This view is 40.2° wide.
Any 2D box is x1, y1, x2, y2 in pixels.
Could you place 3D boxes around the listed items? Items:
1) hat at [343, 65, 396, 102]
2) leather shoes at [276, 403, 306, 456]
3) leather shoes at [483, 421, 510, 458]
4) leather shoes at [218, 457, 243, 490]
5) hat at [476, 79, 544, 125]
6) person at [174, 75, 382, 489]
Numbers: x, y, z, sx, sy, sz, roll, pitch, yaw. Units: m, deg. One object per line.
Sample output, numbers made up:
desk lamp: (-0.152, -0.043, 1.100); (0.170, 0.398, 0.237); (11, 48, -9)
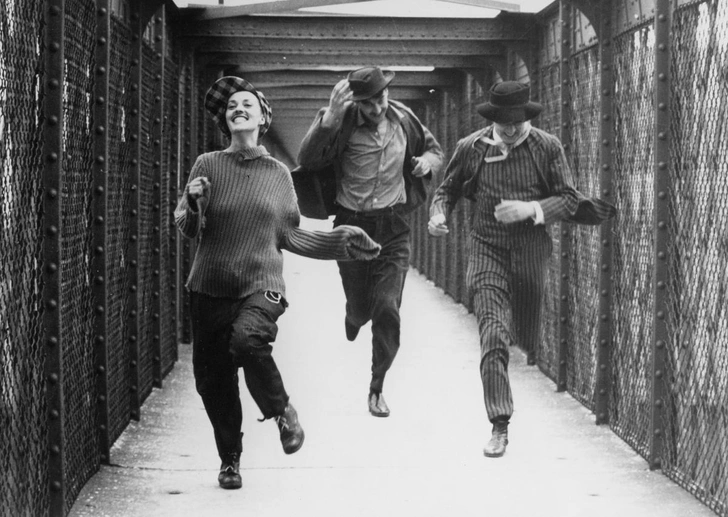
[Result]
hat: (0.034, -1.408, 7.912); (0.381, 0.206, 0.520); (-21, 19, 19)
leather shoes: (-0.461, 1.061, 6.134); (0.166, 0.336, 0.202); (0, 3, -6)
leather shoes: (0.941, 1.269, 7.015); (0.104, 0.245, 0.313); (0, 3, 25)
leather shoes: (-0.896, 1.387, 6.482); (0.103, 0.263, 0.323); (18, -16, -19)
hat: (1.053, -1.205, 7.377); (0.550, 0.280, 0.599); (5, 22, 24)
person: (-0.599, 0.075, 6.153); (1.012, 2.578, 1.146); (-4, -11, 17)
